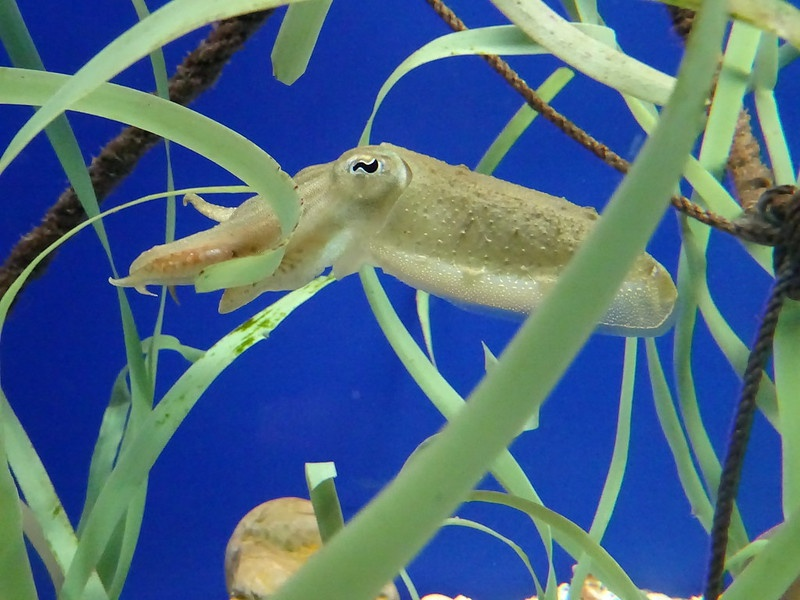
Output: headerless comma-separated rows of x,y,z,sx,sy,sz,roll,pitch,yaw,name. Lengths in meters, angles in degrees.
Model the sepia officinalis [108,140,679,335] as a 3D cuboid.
0.004,0.010,1.232,0.429,0.146,0.207,11,-12,6,sepia officinalis
